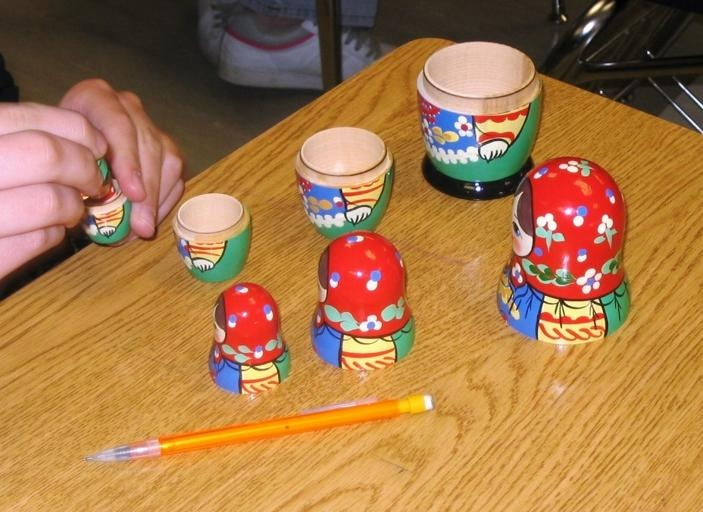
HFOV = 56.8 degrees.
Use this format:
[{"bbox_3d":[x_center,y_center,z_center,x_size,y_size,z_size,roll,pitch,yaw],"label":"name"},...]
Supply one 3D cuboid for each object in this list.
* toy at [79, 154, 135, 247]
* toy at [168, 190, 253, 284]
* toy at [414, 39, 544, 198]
[{"bbox_3d":[-0.305,-0.075,0.817,0.045,0.107,0.046,31,55,16],"label":"toy"},{"bbox_3d":[-0.167,-0.025,0.843,0.099,0.094,0.101,-19,50,-23],"label":"toy"},{"bbox_3d":[0.175,-0.202,0.932,0.197,0.194,0.185,15,48,21],"label":"toy"}]
